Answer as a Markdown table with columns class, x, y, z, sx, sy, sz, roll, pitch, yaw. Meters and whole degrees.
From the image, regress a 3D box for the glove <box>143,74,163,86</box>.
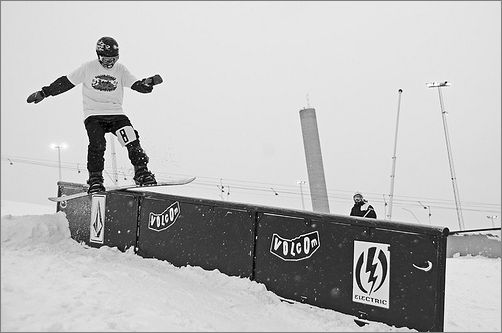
| class | x | y | z | sx | sy | sz | roll | pitch | yaw |
| --- | --- | --- | --- | --- | --- | --- | --- | --- | --- |
| glove | -2.095 | -1.852 | 11.469 | 0.399 | 0.302 | 0.993 | 8 | 12 | -13 |

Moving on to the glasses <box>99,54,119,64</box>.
| class | x | y | z | sx | sy | sz | roll | pitch | yaw |
| --- | --- | --- | --- | --- | --- | --- | --- | --- | --- |
| glasses | -3.096 | -2.322 | 11.735 | 0.212 | 0.148 | 0.268 | -7 | 10 | -33 |
